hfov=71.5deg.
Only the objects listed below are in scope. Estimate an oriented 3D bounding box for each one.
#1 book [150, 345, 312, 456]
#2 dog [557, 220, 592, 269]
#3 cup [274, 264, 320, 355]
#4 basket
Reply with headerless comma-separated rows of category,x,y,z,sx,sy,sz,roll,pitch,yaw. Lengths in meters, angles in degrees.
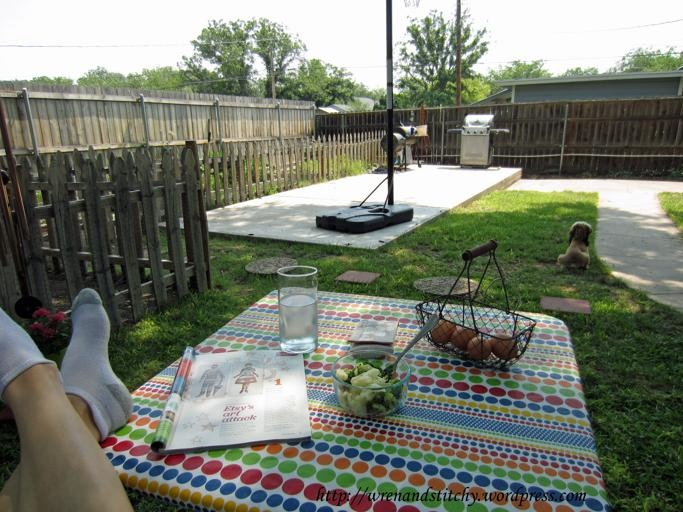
book,-0.372,0.450,1.881,0.726,0.197,0.838,-1,13,-7
dog,2.428,-0.117,4.958,0.306,0.471,0.319,6,20,24
cup,-0.180,0.231,2.065,0.186,0.335,0.203,0,11,0
basket,0.625,0.311,2.125,0.384,0.276,0.468,-10,15,-42
